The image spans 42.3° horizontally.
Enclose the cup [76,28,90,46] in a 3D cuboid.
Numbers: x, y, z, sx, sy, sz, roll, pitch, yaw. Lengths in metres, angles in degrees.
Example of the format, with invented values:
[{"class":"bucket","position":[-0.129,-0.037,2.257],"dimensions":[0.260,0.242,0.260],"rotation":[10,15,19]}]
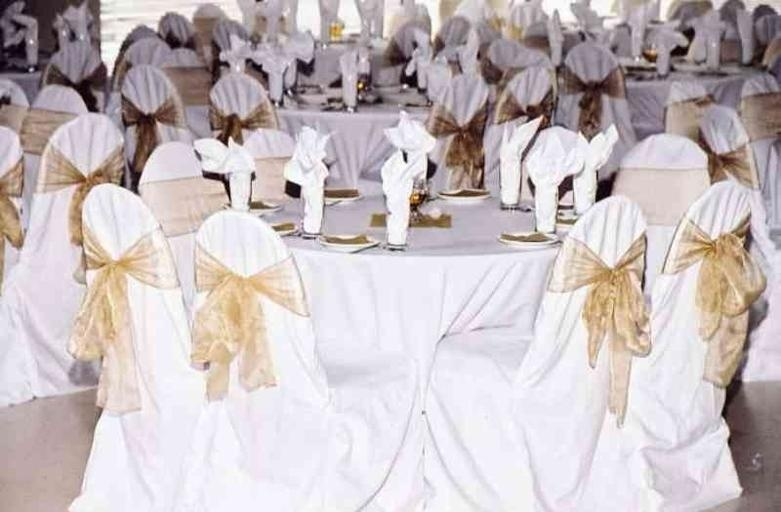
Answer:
[{"class":"cup","position":[-2.537,-1.816,8.341],"dimensions":[0.079,0.087,0.072],"rotation":[17,20,33]}]

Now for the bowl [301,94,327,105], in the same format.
[{"class":"bowl","position":[-0.606,-1.244,7.960],"dimensions":[0.139,0.055,0.109],"rotation":[1,3,-23]}]

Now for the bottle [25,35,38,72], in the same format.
[{"class":"bottle","position":[-2.916,-1.649,8.214],"dimensions":[0.083,0.306,0.069],"rotation":[3,9,2]}]

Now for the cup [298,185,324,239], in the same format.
[{"class":"cup","position":[-0.448,-0.256,5.721],"dimensions":[0.120,0.347,0.235],"rotation":[0,11,-12]}]
